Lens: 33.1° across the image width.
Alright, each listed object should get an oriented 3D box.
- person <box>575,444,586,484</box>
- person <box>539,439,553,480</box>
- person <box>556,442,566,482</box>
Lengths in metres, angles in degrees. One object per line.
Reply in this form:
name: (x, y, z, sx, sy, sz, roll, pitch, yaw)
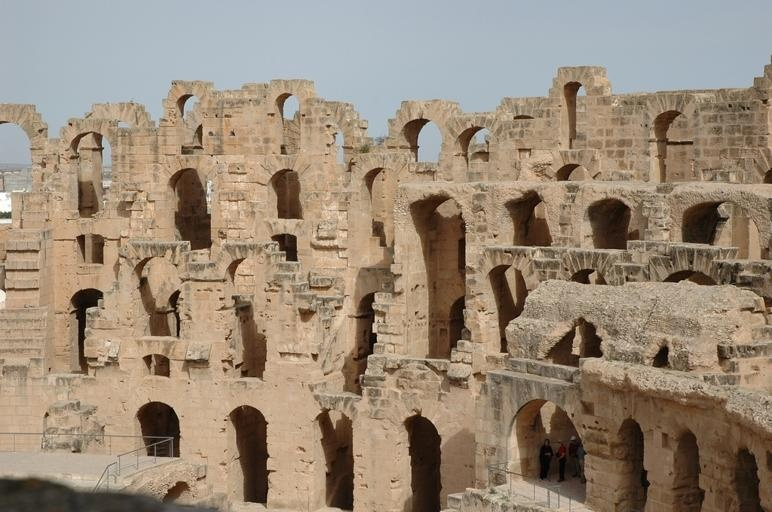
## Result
person: (6.604, 6.932, 43.866, 0.223, 1.181, 0.764, -1, -3, 5)
person: (5.413, 6.796, 43.782, 0.447, 1.300, 0.790, -1, -3, 6)
person: (6.002, 6.870, 44.012, 0.367, 1.293, 1.301, -1, -3, 7)
